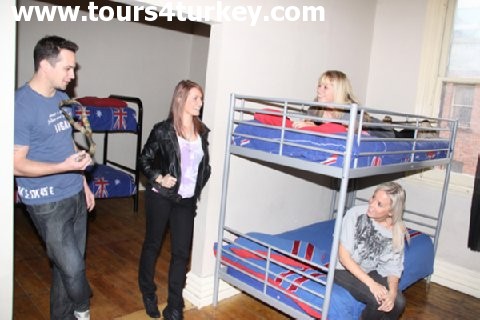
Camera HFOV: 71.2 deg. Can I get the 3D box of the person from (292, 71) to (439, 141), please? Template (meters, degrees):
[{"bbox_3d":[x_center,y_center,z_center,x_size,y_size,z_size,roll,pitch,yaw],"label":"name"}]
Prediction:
[{"bbox_3d":[1.068,-0.524,3.184,1.291,0.546,0.888,20,26,30],"label":"person"}]

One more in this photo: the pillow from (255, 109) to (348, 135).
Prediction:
[{"bbox_3d":[0.470,-0.289,2.699,0.589,0.115,0.325,13,3,22],"label":"pillow"}]

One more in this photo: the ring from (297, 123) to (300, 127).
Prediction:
[{"bbox_3d":[0.475,-0.280,2.709,0.015,0.020,0.010,1,-12,7],"label":"ring"}]

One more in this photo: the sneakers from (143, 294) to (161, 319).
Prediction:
[{"bbox_3d":[-0.795,1.305,2.964,0.079,0.139,0.201,-12,62,-33],"label":"sneakers"}]

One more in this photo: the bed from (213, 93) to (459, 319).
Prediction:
[{"bbox_3d":[0.873,0.483,3.141,2.332,1.996,1.321,4,7,-43],"label":"bed"}]

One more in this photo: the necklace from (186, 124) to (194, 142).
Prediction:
[{"bbox_3d":[-0.451,-0.235,2.890,0.032,0.126,0.094,2,3,31],"label":"necklace"}]

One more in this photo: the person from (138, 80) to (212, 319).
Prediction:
[{"bbox_3d":[-0.576,0.362,2.918,0.511,2.033,0.617,7,17,17],"label":"person"}]

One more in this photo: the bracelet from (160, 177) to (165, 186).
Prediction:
[{"bbox_3d":[-0.645,0.182,2.750,0.016,0.054,0.058,23,3,-5],"label":"bracelet"}]
